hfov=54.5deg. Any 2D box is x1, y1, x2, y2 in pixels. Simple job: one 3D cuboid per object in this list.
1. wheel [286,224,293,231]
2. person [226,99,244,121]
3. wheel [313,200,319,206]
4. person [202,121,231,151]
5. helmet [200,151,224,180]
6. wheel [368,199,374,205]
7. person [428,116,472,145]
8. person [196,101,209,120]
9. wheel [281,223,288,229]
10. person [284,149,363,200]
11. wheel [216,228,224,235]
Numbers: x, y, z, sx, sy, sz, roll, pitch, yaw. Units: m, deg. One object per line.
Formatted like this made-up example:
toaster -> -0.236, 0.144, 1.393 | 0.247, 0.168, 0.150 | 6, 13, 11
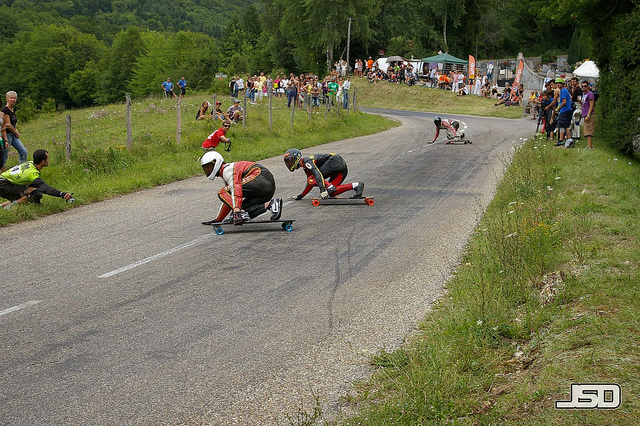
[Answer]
wheel -> -0.712, 0.332, 14.114 | 0.145, 0.151, 0.049 | -2, 0, -12
person -> -3.939, -4.696, 28.963 | 0.658, 0.837, 2.058 | -2, 16, -6
wheel -> -0.115, -0.279, 16.207 | 0.147, 0.166, 0.212 | 0, 15, 0
person -> -3.454, -2.483, 20.959 | 0.820, 0.904, 2.319 | -2, 16, -6
helmet -> -2.496, -1.179, 14.235 | 0.439, 0.521, 0.571 | -1, 31, 46
wheel -> 1.335, -0.300, 16.250 | 0.185, 0.129, 0.093 | -15, 21, -42
person -> 5.606, -3.563, 26.898 | 1.701, 1.187, 1.185 | -4, 3, -2
person -> -5.354, -4.685, 28.338 | 0.571, 0.786, 0.964 | -3, 16, -12
wheel -> -0.816, 0.284, 14.104 | 0.097, 0.104, 0.114 | 4, 1, -1
person -> 0.080, -0.990, 16.499 | 2.062, 1.317, 1.180 | 1, -1, 16
wheel -> -2.219, 0.408, 13.847 | 0.140, 0.144, 0.095 | 2, 10, 1
